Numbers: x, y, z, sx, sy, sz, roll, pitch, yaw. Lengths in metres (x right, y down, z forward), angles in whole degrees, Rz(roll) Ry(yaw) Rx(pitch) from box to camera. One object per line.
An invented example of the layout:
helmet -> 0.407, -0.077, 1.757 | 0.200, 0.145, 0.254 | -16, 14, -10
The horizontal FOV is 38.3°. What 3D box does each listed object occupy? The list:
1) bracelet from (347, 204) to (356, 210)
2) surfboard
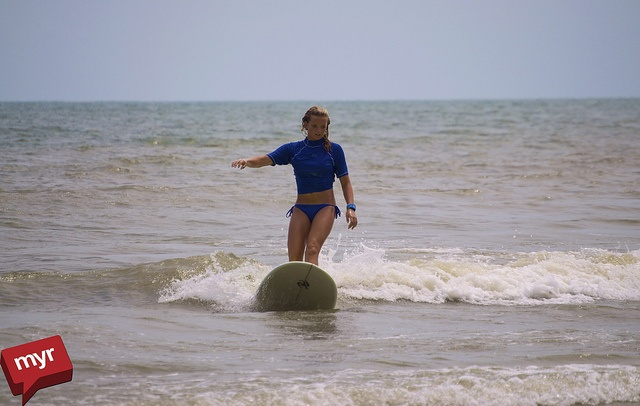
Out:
bracelet -> 0.527, 0.083, 15.475 | 0.115, 0.065, 0.141 | 6, 10, 32
surfboard -> -0.373, 1.441, 15.232 | 0.900, 1.480, 0.112 | 14, 43, -2
